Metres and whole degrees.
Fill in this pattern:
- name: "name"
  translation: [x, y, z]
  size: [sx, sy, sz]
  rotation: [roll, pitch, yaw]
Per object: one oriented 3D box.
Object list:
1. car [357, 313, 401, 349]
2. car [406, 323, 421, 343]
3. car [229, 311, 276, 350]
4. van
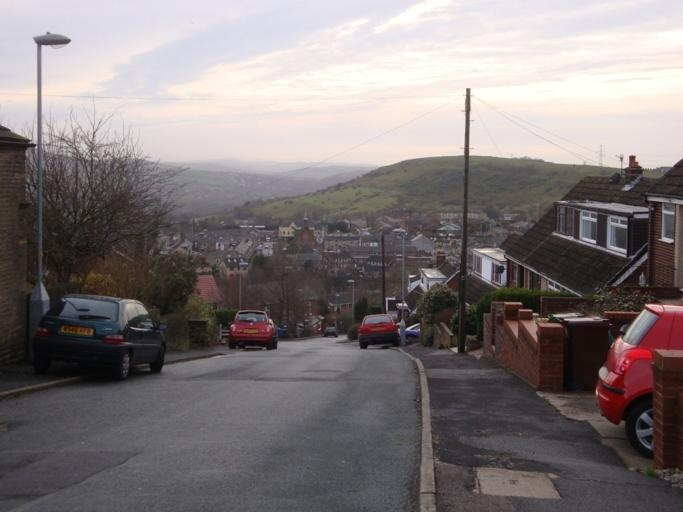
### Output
- name: "car"
  translation: [1.839, 3.775, 33.881]
  size: [1.871, 1.571, 1.668]
  rotation: [-1, 4, 2]
- name: "car"
  translation: [5.425, 5.689, 50.563]
  size: [1.009, 0.666, 1.671]
  rotation: [2, 6, 34]
- name: "car"
  translation: [-3.913, 3.309, 29.703]
  size: [1.923, 1.839, 1.737]
  rotation: [-2, 4, -10]
- name: "van"
  translation: [-5.200, 1.796, 15.408]
  size: [1.488, 1.150, 2.560]
  rotation: [2, 1, 13]
